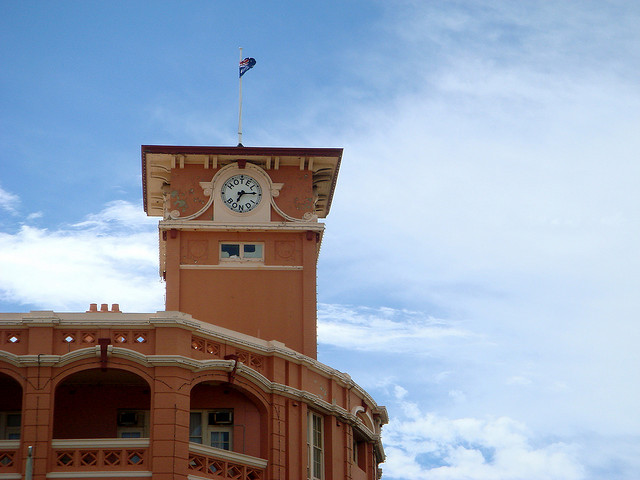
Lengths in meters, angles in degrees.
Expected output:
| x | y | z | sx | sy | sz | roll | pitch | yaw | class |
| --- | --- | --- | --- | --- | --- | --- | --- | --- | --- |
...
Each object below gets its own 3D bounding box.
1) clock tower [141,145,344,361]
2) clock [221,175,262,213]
| x | y | z | sx | sy | sz | roll | pitch | yaw | class |
| --- | --- | --- | --- | --- | --- | --- | --- | --- | --- |
| -4.471 | 0.814 | 73.205 | 12.068 | 11.758 | 12.484 | 0 | -1 | 19 | clock tower |
| -4.067 | -2.245 | 70.328 | 2.009 | 1.958 | 0.313 | 4 | 8 | 12 | clock |
